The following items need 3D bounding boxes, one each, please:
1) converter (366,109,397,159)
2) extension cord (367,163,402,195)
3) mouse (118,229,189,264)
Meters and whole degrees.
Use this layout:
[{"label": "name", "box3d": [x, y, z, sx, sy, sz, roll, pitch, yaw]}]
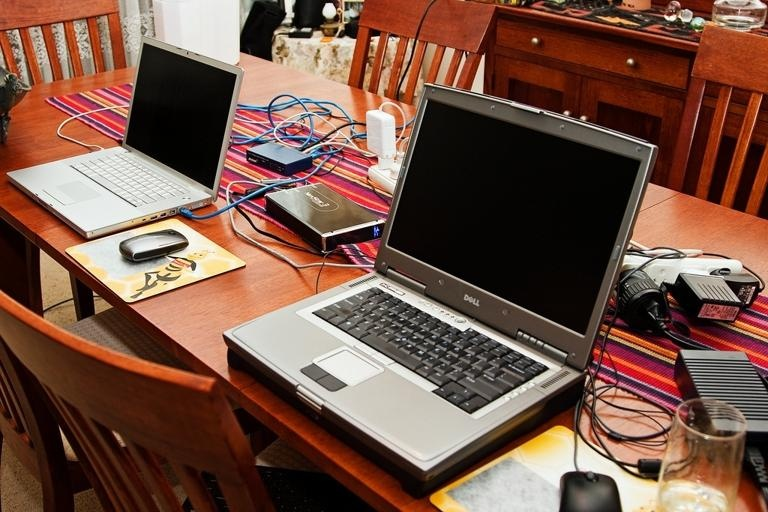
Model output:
[{"label": "converter", "box3d": [-0.007, -0.319, 1.450, 0.055, 0.134, 0.135, -21, 30, -35]}, {"label": "extension cord", "box3d": [0.002, -0.200, 1.408, 0.099, 0.029, 0.096, 23, 42, 31]}, {"label": "mouse", "box3d": [-0.487, -0.029, 1.165, 0.118, 0.027, 0.068, -15, 34, -31]}]
